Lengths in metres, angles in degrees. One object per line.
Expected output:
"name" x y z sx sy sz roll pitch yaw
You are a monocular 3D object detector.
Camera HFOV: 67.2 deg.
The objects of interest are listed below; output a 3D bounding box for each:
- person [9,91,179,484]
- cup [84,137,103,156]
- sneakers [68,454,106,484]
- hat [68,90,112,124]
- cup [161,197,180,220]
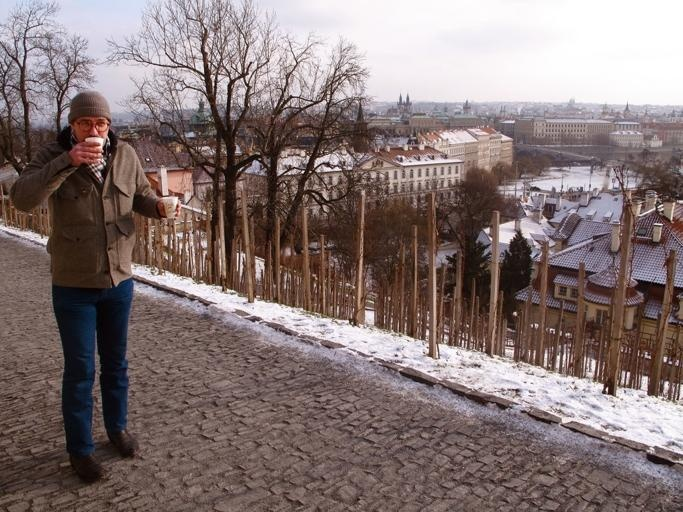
"person" -1.650 0.192 3.475 0.611 2.501 0.837 6 12 21
"cup" -1.499 -0.670 3.142 0.114 0.095 0.104 -1 7 0
"sneakers" -1.675 1.400 3.389 0.269 0.117 0.130 29 31 22
"hat" -1.605 -0.939 3.250 0.254 0.194 0.272 -4 13 -22
"cup" -1.229 -0.360 3.734 0.114 0.127 0.177 -1 0 -1
